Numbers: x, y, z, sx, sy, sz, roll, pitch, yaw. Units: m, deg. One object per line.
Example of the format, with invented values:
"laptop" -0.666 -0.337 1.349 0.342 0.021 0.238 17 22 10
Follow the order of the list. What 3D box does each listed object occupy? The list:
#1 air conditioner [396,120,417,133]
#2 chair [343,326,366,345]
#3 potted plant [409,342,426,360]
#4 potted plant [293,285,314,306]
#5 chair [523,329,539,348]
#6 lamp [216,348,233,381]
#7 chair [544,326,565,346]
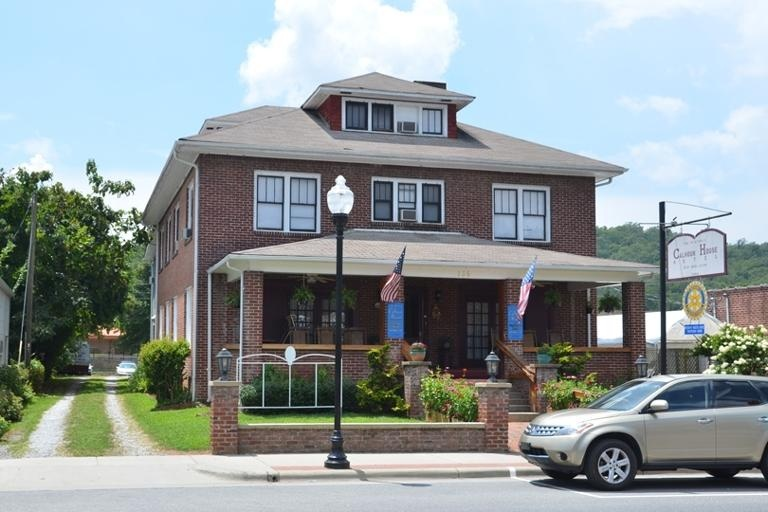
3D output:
"air conditioner" 1.003 -5.561 40.936 0.808 0.534 0.445 4 -10 -21
"chair" -1.009 2.815 34.577 0.609 0.824 0.614 2 -1 -32
"potted plant" 1.149 3.200 32.870 0.564 0.575 0.573 2 -4 -22
"potted plant" -2.853 1.397 34.358 0.739 0.664 0.748 3 0 -24
"chair" 5.617 3.148 37.215 0.535 0.975 0.577 0 -13 0
"lamp" -4.443 2.991 27.185 0.459 0.932 0.453 0 -3 -6
"chair" 6.699 3.130 38.163 0.583 0.993 0.634 1 -11 -1
